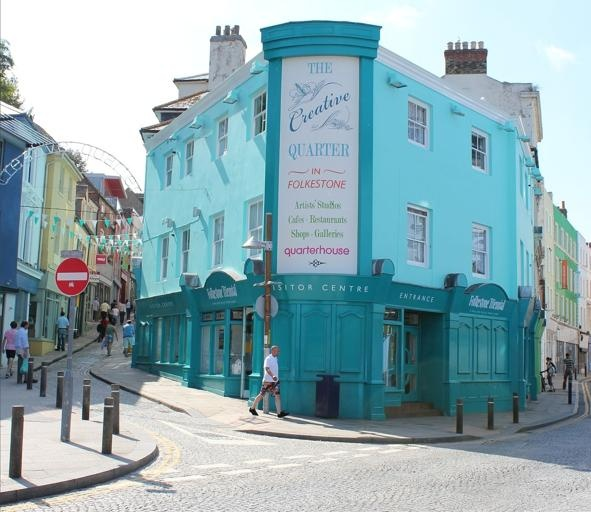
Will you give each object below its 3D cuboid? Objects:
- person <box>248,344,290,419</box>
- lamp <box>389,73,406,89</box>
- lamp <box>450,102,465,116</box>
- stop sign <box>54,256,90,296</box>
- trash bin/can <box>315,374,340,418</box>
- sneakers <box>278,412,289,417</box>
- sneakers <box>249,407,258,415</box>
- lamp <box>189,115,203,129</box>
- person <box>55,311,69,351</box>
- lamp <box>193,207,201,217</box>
[{"bbox_3d":[-0.665,3.208,16.095,0.708,1.753,0.924,11,-16,-40],"label":"person"},{"bbox_3d":[3.014,-5.292,19.079,0.306,0.371,0.651,-7,-7,39],"label":"lamp"},{"bbox_3d":[5.387,-4.897,21.292,0.400,0.414,0.105,6,-14,-29],"label":"lamp"},{"bbox_3d":[-3.777,0.323,10.737,0.728,0.690,0.367,-5,-13,25],"label":"stop sign"},{"bbox_3d":[0.814,3.664,16.471,0.584,1.093,0.482,1,-12,-1],"label":"trash bin/can"},{"bbox_3d":[-0.320,3.996,15.989,0.282,0.153,0.098,-5,9,-23],"label":"sneakers"},{"bbox_3d":[-1.084,3.967,16.166,0.106,0.131,0.281,8,-8,-38],"label":"sneakers"},{"bbox_3d":[-3.733,-4.979,23.733,0.417,0.656,0.402,1,-3,1],"label":"lamp"},{"bbox_3d":[-11.886,3.983,32.222,0.543,1.656,2.288,5,-14,-20],"label":"person"},{"bbox_3d":[-3.638,-1.601,23.242,0.257,0.351,0.374,8,-15,-31],"label":"lamp"}]
